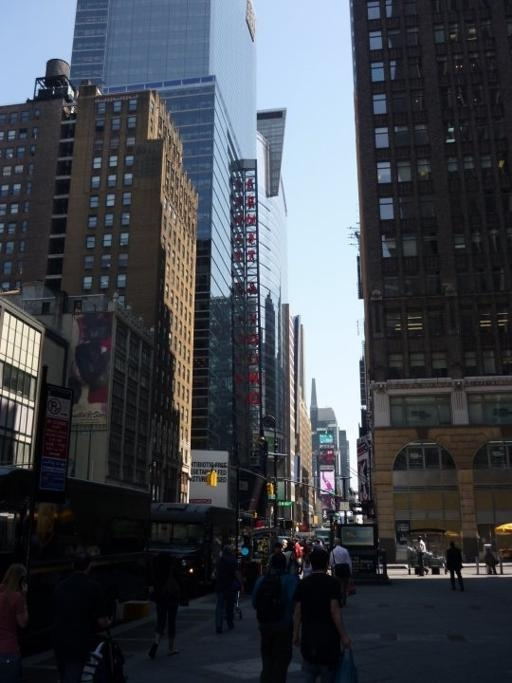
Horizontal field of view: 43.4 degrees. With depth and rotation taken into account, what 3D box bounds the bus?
[{"bbox_3d":[-3.757,5.028,15.179,2.451,2.610,9.903,-3,-19,11],"label":"bus"}]
